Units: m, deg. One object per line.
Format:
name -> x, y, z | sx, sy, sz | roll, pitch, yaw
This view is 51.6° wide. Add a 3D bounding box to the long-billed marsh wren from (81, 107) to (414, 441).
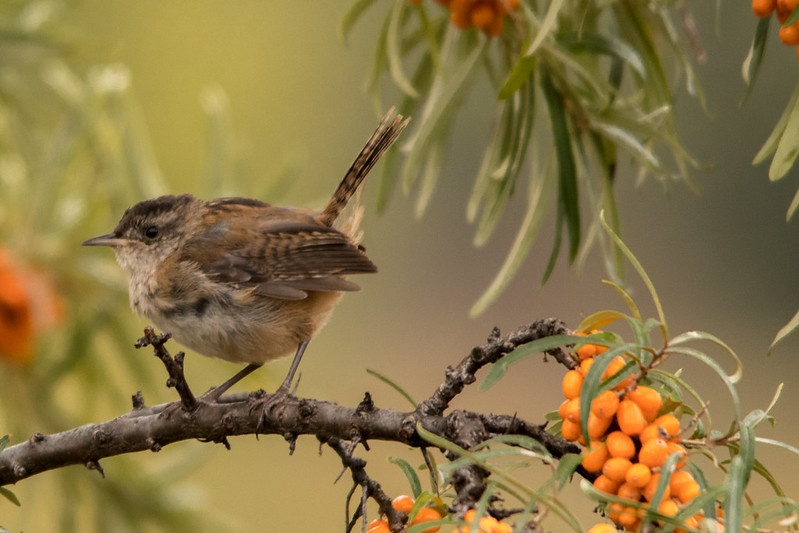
long-billed marsh wren -> -0.230, 0.010, 2.867 | 1.489, 1.206, 0.592 | -2, -10, 12
